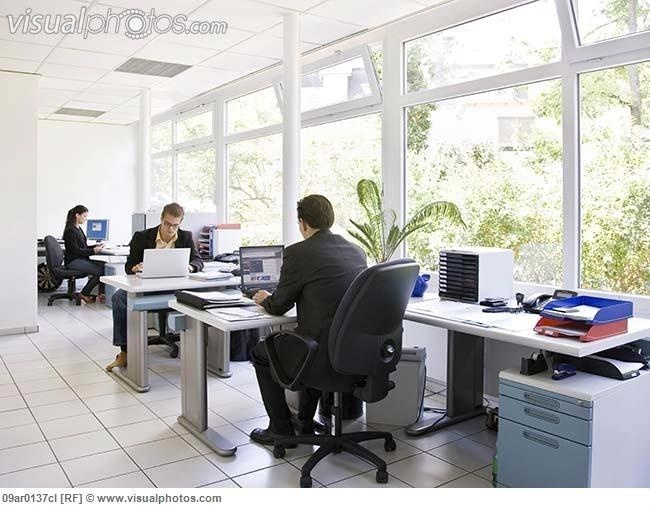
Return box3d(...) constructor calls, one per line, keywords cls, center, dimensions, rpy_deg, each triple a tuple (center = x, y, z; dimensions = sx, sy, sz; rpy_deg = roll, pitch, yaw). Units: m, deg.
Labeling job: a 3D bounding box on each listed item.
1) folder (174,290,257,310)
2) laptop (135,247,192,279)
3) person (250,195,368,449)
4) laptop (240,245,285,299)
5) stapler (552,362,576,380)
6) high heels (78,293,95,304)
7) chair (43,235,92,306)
box3d(cls="folder", center=(-0.729, 0.296, 3.278), dimensions=(0.453, 0.073, 0.439), rpy_deg=(-3, 7, -31))
box3d(cls="laptop", center=(-1.333, 0.075, 4.047), dimensions=(0.361, 0.249, 0.254), rpy_deg=(0, 6, -28))
box3d(cls="person", center=(-0.098, 0.440, 2.980), dimensions=(0.735, 1.600, 0.478), rpy_deg=(7, 9, 44))
box3d(cls="laptop", center=(-0.532, 0.154, 3.830), dimensions=(0.436, 0.424, 0.350), rpy_deg=(1, -10, -18))
box3d(cls="stapler", center=(1.234, 0.605, 2.498), dimensions=(0.070, 0.054, 0.135), rpy_deg=(6, 11, 43))
box3d(cls="high heels", center=(-3.599, 0.690, 7.337), dimensions=(0.137, 0.105, 0.261), rpy_deg=(33, -5, -14))
box3d(cls="chair", center=(-3.951, 0.214, 7.382), dimensions=(0.524, 1.028, 1.078), rpy_deg=(-3, 7, -30))
